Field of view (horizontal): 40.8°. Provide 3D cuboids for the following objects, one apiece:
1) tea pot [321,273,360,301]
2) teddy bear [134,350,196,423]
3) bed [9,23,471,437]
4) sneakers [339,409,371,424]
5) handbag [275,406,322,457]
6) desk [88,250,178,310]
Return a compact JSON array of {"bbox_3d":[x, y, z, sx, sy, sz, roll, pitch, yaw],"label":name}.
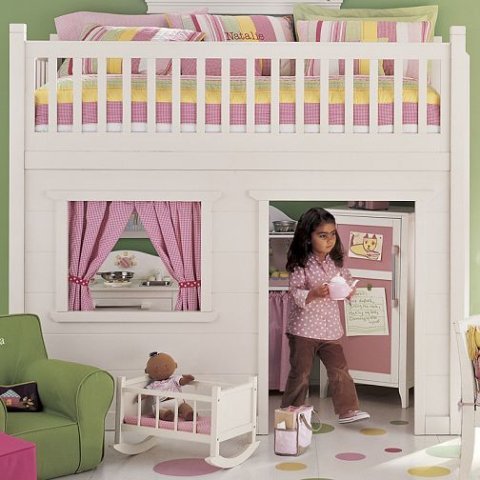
[{"bbox_3d":[0.546,0.251,3.412,0.199,0.144,0.113,0,-1,-22],"label":"tea pot"},{"bbox_3d":[-0.382,0.769,3.380,0.316,0.367,0.238,-7,2,-2],"label":"teddy bear"},{"bbox_3d":[0.007,-0.037,3.575,2.346,2.156,0.916,0,1,1],"label":"bed"},{"bbox_3d":[0.645,1.000,3.683,0.180,0.080,0.070,-8,-2,9],"label":"sneakers"},{"bbox_3d":[0.318,0.981,3.327,0.171,0.229,0.230,-1,-3,23],"label":"handbag"},{"bbox_3d":[-0.771,0.299,4.622,0.454,0.463,0.180,0,-1,0],"label":"desk"}]
